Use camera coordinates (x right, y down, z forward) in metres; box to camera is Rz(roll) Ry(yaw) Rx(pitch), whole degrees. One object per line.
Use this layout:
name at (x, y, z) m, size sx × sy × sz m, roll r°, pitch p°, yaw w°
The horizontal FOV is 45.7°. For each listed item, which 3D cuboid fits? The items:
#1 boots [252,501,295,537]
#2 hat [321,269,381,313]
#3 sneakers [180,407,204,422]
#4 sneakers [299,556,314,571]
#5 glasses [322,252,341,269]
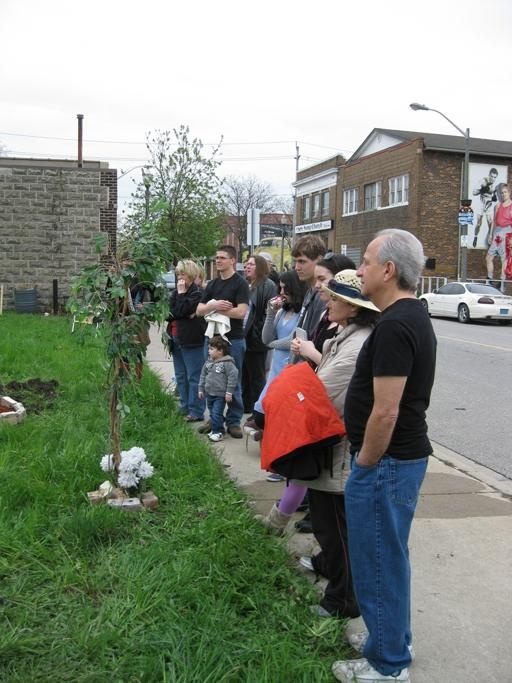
boots at (0.096, 1.070, 3.709) m, size 0.193 × 0.226 × 0.318 m, roll 2°, pitch 4°, yaw 1°
hat at (0.459, -0.254, 2.931) m, size 0.232 × 0.084 × 0.196 m, roll 10°, pitch 17°, yaw -45°
sneakers at (-0.731, 0.848, 6.930) m, size 0.119 × 0.127 × 0.310 m, roll 1°, pitch -11°, yaw 5°
sneakers at (0.277, 1.229, 3.385) m, size 0.056 × 0.066 × 0.142 m, roll 21°, pitch -21°, yaw -32°
glasses at (0.449, -0.499, 3.630) m, size 0.031 × 0.106 × 0.111 m, roll 31°, pitch -11°, yaw -27°
